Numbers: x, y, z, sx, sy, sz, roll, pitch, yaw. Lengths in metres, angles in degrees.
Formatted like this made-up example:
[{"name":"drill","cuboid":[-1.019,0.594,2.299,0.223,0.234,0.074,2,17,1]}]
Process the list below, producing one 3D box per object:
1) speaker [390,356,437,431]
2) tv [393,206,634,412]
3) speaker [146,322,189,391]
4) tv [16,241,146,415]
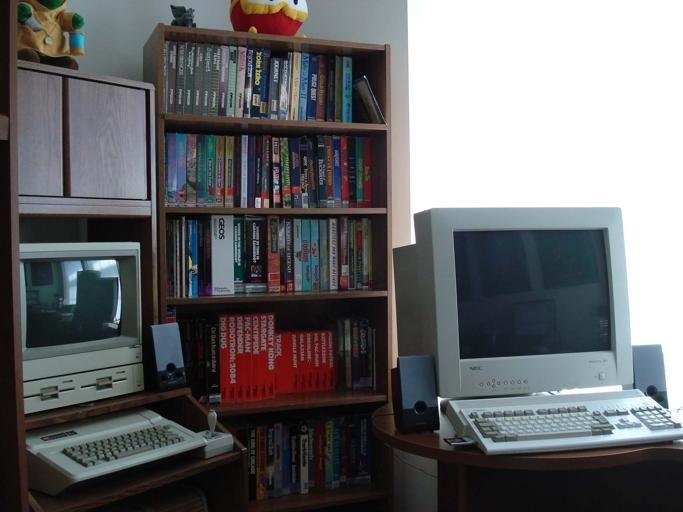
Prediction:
[{"name":"speaker","cuboid":[0.239,0.450,1.903,0.143,0.237,0.147,-4,-10,7]},{"name":"tv","cuboid":[0.657,0.147,2.150,0.670,0.620,0.514,-3,0,-1]},{"name":"speaker","cuboid":[-0.616,0.366,2.157,0.144,0.236,0.154,-9,0,38]},{"name":"tv","cuboid":[-0.937,0.207,2.066,0.415,0.563,0.301,-7,16,-37]}]
